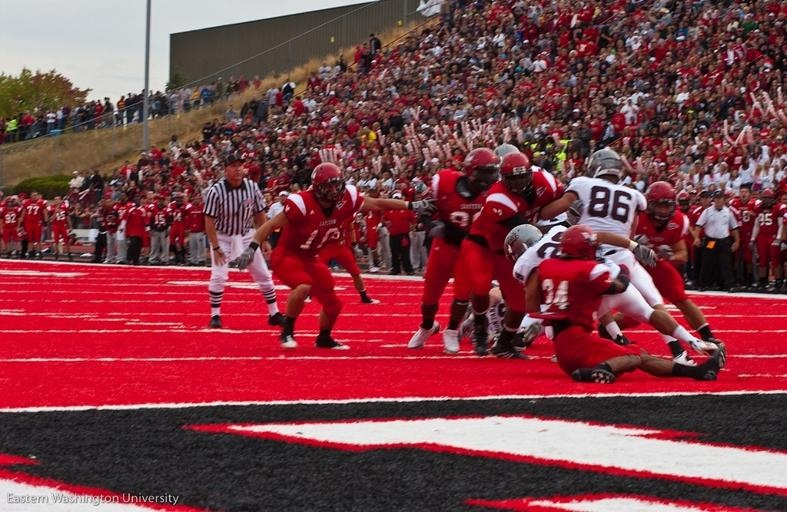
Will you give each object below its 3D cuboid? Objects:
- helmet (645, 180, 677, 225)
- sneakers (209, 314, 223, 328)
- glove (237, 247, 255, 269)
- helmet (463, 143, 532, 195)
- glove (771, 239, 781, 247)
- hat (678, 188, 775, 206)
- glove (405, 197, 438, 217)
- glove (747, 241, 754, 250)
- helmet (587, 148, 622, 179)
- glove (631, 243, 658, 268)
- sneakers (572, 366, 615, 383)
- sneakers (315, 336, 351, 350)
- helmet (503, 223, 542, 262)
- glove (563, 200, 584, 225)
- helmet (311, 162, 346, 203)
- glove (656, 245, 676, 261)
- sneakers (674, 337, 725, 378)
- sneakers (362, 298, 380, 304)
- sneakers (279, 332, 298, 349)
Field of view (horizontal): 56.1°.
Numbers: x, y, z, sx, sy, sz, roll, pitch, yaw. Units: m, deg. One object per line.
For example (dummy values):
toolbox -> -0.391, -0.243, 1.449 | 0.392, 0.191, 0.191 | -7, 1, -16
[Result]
helmet -> 2.805, -0.541, 7.772 | 0.292, 0.475, 0.343 | 1, 4, 19
sneakers -> -2.319, 0.860, 9.677 | 0.183, 0.179, 0.486 | 1, -3, -16
glove -> -1.544, 0.040, 8.025 | 0.149, 0.263, 0.070 | 41, -11, 40
helmet -> 1.147, -0.901, 7.790 | 0.701, 0.478, 0.508 | 11, 28, 34
glove -> 7.206, -0.245, 13.945 | 0.145, 0.052, 0.166 | 12, -11, 7
hat -> 6.408, -1.116, 14.069 | 1.070, 0.262, 0.621 | 0, -1, 27
glove -> 0.304, -0.540, 8.233 | 0.204, 0.178, 0.329 | -3, 4, -37
glove -> 6.932, -0.183, 14.355 | 0.062, 0.167, 0.136 | -1, 4, -17
helmet -> 2.221, -0.978, 7.785 | 0.324, 0.306, 0.312 | 1, 4, 12
glove -> 2.479, -0.011, 7.340 | 0.291, 0.167, 0.122 | 37, 17, 6
sneakers -> 1.641, 0.957, 6.114 | 0.374, 0.122, 0.167 | -2, 32, 26
sneakers -> -0.684, 0.965, 8.182 | 0.436, 0.155, 0.133 | 1, 5, 2
helmet -> 1.304, -0.126, 7.219 | 0.296, 0.354, 0.481 | -1, 3, -12
glove -> 1.859, -0.455, 7.597 | 0.212, 0.228, 0.126 | 25, 23, -5
helmet -> -0.696, -0.782, 7.905 | 0.355, 0.434, 0.275 | -1, 4, -6
glove -> 2.843, -0.023, 7.717 | 0.185, 0.098, 0.240 | 16, 10, 20
sneakers -> 2.663, 0.904, 6.308 | 0.628, 0.269, 0.298 | -3, 5, -44
sneakers -> -0.377, 0.793, 12.663 | 0.304, 0.109, 0.094 | -2, 18, 0
sneakers -> -1.164, 0.938, 8.135 | 0.196, 0.161, 0.185 | 0, 3, 5
